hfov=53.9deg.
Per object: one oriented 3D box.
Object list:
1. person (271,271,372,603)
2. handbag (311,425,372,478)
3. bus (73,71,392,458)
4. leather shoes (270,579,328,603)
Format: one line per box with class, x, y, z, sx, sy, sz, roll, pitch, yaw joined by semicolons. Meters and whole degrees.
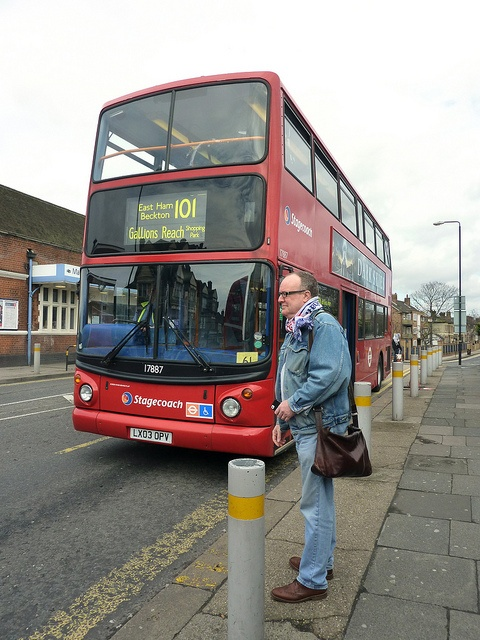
person;0.421;0.569;2.511;0.514;1.734;0.412;-2;-3;13
handbag;0.533;0.689;2.413;0.308;0.283;0.158;8;-24;-18
bus;-0.203;0.569;8.939;2.085;4.445;8.490;0;-17;8
leather shoes;0.304;1.347;2.400;0.260;0.159;0.115;4;-8;-2
